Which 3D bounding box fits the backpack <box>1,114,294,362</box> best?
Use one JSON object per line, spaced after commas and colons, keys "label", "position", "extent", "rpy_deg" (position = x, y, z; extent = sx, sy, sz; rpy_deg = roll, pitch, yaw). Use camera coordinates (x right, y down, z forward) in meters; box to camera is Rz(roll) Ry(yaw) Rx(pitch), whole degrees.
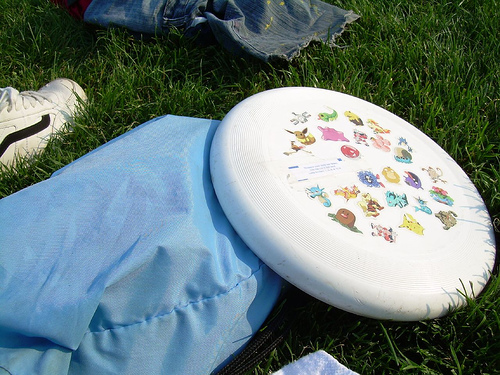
{"label": "backpack", "position": [-0.343, 0.171, 1.753], "extent": [0.822, 0.256, 0.791], "rpy_deg": [-9, 62, -11]}
